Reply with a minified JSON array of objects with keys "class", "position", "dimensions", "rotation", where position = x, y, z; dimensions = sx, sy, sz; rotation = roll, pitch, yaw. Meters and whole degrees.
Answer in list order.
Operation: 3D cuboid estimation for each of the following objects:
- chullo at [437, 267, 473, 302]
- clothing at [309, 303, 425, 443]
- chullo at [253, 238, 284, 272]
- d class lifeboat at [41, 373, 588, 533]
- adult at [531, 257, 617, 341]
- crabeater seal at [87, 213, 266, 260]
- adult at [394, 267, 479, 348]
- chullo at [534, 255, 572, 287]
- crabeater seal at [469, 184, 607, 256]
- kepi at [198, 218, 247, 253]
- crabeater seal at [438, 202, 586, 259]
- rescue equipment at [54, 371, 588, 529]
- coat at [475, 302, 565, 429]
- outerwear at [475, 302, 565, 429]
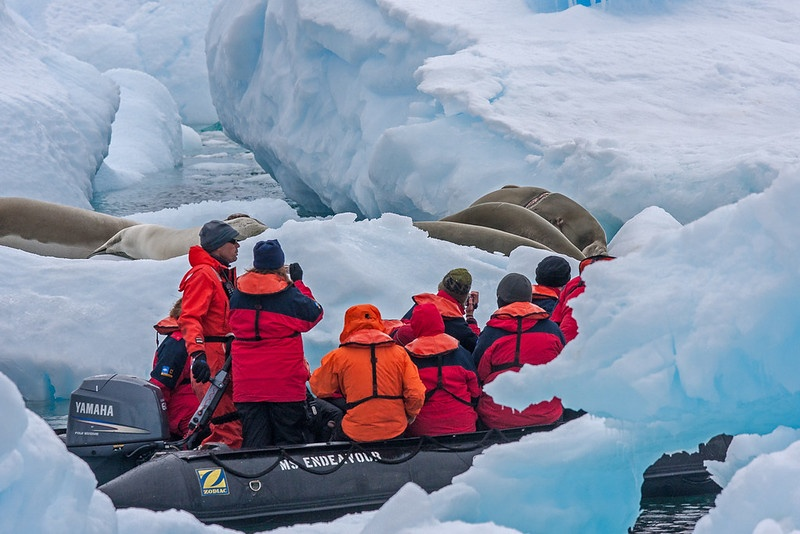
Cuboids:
[{"class":"chullo","position":[0.751,0.245,19.332],"dimensions":[0.566,0.497,0.649],"rotation":[8,16,-4]},{"class":"clothing","position":[-0.257,1.459,19.135],"dimensions":[1.904,1.616,1.520],"rotation":[3,8,40]},{"class":"chullo","position":[-1.787,-0.151,18.768],"dimensions":[0.467,0.287,0.425],"rotation":[-2,14,-3]},{"class":"d class lifeboat","position":[-1.448,2.721,18.911],"dimensions":[6.171,1.096,2.638],"rotation":[-1,-1,-13]},{"class":"adult","position":[2.451,0.435,19.385],"dimensions":[1.016,1.127,0.473],"rotation":[14,-9,32]},{"class":"crabeater seal","position":[-3.940,-0.345,24.716],"dimensions":[2.875,0.924,0.702],"rotation":[1,-28,10]},{"class":"adult","position":[0.553,0.569,19.236],"dimensions":[1.127,0.482,1.365],"rotation":[10,24,28]},{"class":"chullo","position":[2.192,0.072,19.779],"dimensions":[0.460,0.448,0.458],"rotation":[2,26,6]},{"class":"crabeater seal","position":[2.664,-0.949,23.988],"dimensions":[1.796,0.487,1.534],"rotation":[25,23,12]},{"class":"kepi","position":[-2.519,-0.452,19.210],"dimensions":[0.561,0.385,0.371],"rotation":[-30,31,14]},{"class":"crabeater seal","position":[2.066,-0.653,23.093],"dimensions":[1.450,0.397,1.401],"rotation":[20,-2,-21]},{"class":"rescue equipment","position":[-1.311,2.242,18.892],"dimensions":[6.006,1.066,2.597],"rotation":[0,-2,-13]},{"class":"coat","position":[1.543,1.365,19.144],"dimensions":[1.503,1.599,0.740],"rotation":[4,1,-5]},{"class":"outerwear","position":[1.567,1.359,19.136],"dimensions":[1.503,1.599,0.740],"rotation":[4,1,-5]}]
